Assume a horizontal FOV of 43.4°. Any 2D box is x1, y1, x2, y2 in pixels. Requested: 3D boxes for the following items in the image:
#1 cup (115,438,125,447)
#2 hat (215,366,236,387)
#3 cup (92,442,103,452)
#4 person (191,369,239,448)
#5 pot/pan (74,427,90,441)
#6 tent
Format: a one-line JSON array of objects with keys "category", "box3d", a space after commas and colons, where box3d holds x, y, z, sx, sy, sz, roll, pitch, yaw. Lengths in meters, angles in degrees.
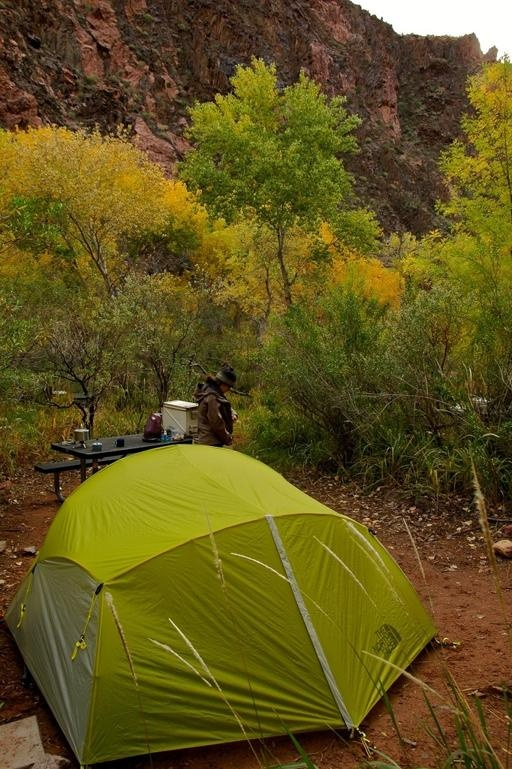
[{"category": "cup", "box3d": [-1.499, 0.645, 7.105, 0.116, 0.123, 0.063, 0, 8, -21]}, {"category": "hat", "box3d": [-0.306, -0.099, 7.173, 0.234, 0.202, 0.179, 30, -1, -18]}, {"category": "cup", "box3d": [-1.694, 0.659, 6.883, 0.088, 0.080, 0.090, 1, 4, 0]}, {"category": "person", "box3d": [-0.457, 0.450, 7.231, 0.489, 1.262, 0.515, -2, 12, -19]}, {"category": "pot/pan", "box3d": [-2.035, 0.567, 7.445, 0.151, 0.166, 0.156, -2, -4, 24]}, {"category": "tent", "box3d": [-0.176, 1.199, 3.708, 1.693, 0.814, 1.878, -5, 6, -42]}]
